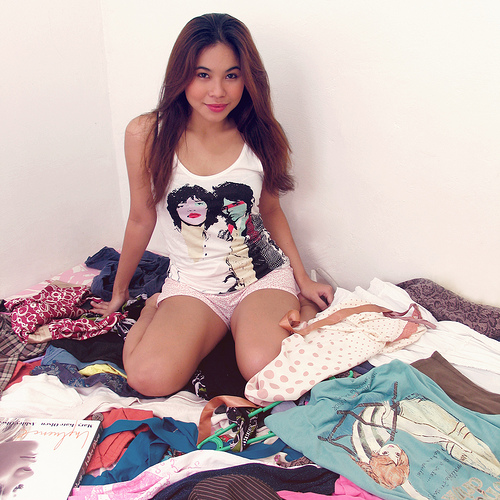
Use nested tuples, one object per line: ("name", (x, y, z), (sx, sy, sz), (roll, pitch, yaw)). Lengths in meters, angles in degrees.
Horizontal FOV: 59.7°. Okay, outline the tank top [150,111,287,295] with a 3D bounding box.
("tank top", (-0.075, -0.116, 1.484), (0.372, 0.472, 0.294), (-17, 36, -36))
